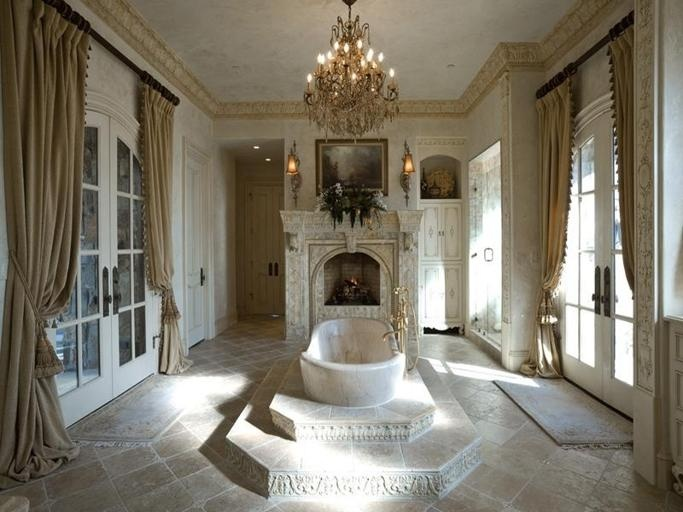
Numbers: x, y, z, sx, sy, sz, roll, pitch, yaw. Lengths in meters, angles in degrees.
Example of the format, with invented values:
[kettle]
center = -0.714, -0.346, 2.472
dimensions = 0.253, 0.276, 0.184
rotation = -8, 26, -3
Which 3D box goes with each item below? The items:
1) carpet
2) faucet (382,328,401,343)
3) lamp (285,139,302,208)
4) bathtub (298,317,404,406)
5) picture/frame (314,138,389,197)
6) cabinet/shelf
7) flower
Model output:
[carpet]
center = 2.388, 1.638, 4.870
dimensions = 0.935, 0.085, 1.402
rotation = -2, 12, -9
[faucet]
center = 0.576, 0.887, 5.099
dimensions = 0.094, 0.218, 0.506
rotation = 1, -11, 27
[lamp]
center = -0.802, -1.353, 7.674
dimensions = 0.258, 1.085, 0.408
rotation = -2, 11, -7
[bathtub]
center = 0.139, 1.167, 5.083
dimensions = 1.007, 0.773, 1.717
rotation = 0, 11, 3
[picture/frame]
center = 0.205, -1.491, 7.703
dimensions = 0.877, 0.761, 0.044
rotation = 0, -2, 1
[cabinet/shelf]
center = 1.713, 0.160, 7.824
dimensions = 0.761, 2.136, 0.444
rotation = 2, 11, 10
[flower]
center = 0.092, -0.802, 7.458
dimensions = 0.775, 0.526, 0.842
rotation = 3, 8, -32
